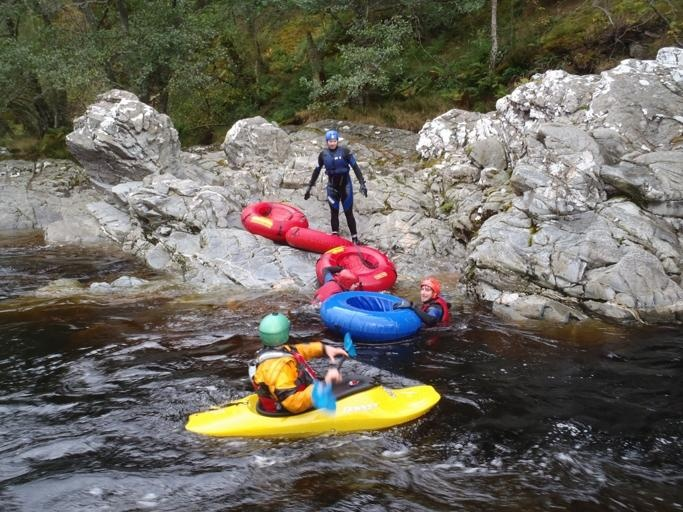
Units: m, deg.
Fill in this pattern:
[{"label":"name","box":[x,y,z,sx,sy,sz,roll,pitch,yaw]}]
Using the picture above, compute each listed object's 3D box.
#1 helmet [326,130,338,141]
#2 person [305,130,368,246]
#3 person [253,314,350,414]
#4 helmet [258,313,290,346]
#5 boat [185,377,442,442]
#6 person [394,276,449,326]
[{"label":"helmet","box":[-0.198,-2.721,12.999,0.230,0.234,0.363,-3,20,7]},{"label":"person","box":[0.006,-1.587,13.703,1.143,2.876,0.687,18,36,42]},{"label":"person","box":[-0.552,1.611,8.210,0.975,1.344,0.754,-27,43,21]},{"label":"helmet","box":[-0.913,0.996,7.841,0.485,0.291,0.440,8,22,20]},{"label":"boat","box":[-0.268,2.122,8.084,4.336,0.536,1.006,-1,3,-5]},{"label":"person","box":[1.504,0.872,10.247,0.731,0.826,0.707,6,25,26]}]
